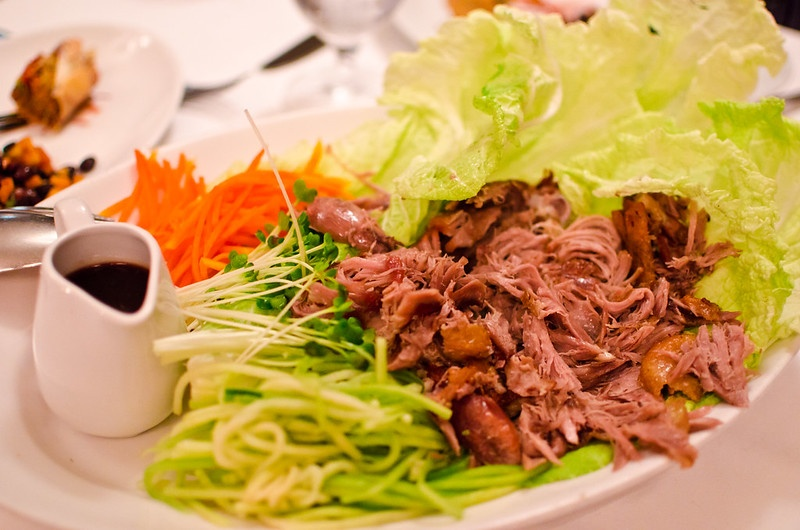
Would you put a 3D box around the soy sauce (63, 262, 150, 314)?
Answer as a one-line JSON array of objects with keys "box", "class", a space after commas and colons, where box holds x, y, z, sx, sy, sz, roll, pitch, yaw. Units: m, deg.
[{"box": [-1.122, 0.048, 2.514, 0.276, 0.173, 0.410, 12, 15, 30], "class": "soy sauce"}]
